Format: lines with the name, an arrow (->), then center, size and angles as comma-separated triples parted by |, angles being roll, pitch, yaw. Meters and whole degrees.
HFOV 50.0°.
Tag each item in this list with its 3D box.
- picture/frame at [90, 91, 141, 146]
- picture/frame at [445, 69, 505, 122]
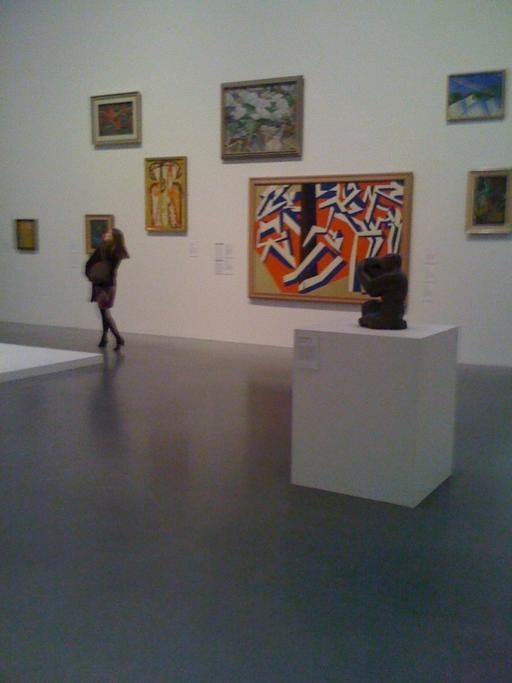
picture/frame -> -2.339, -3.800, 9.285 | 0.921, 0.829, 0.073 | 7, 12, 28
picture/frame -> 2.790, -3.111, 6.890 | 0.667, 0.588, 0.072 | 6, 12, 29
